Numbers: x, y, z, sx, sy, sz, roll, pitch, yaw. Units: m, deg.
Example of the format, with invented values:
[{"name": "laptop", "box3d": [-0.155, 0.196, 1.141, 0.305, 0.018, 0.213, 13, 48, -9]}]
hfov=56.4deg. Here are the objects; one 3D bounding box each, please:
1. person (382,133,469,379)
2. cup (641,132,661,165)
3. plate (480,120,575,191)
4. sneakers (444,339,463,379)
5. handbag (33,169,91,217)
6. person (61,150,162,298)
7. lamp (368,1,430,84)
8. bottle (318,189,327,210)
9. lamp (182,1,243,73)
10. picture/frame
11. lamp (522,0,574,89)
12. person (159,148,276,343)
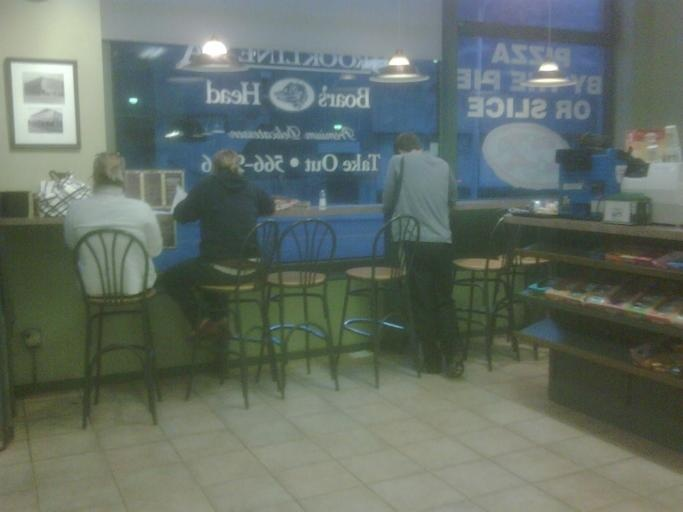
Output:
[{"name": "person", "box3d": [0.709, 0.040, 5.007, 0.445, 1.696, 0.710, -7, 13, -28]}, {"name": "cup", "box3d": [1.956, -0.692, 3.973, 0.127, 0.188, 0.093, 8, 14, 38]}, {"name": "plate", "box3d": [1.926, -1.027, 6.587, 1.061, 0.714, 0.235, -7, 13, -28]}, {"name": "sneakers", "box3d": [0.876, 0.792, 4.920, 0.150, 0.256, 0.181, -7, 13, -26]}, {"name": "handbag", "box3d": [-1.930, -0.454, 4.510, 0.316, 0.146, 0.438, -9, -2, 24]}, {"name": "person", "box3d": [-1.522, -0.240, 4.296, 0.600, 0.978, 0.574, 11, 26, 2]}, {"name": "lamp", "box3d": [0.491, -1.871, 5.426, 0.461, 0.730, 0.737, -1, 11, 2]}, {"name": "bottle", "box3d": [-0.165, -0.523, 5.718, 0.082, 0.138, 0.170, -2, 11, -2]}, {"name": "lamp", "box3d": [-0.970, -1.580, 4.902, 0.444, 0.270, 0.260, -3, 12, -11]}, {"name": "picture/frame", "box3d": [-2.327, -1.196, 4.905, 0.702, 0.939, 0.069, -3, 9, -18]}, {"name": "lamp", "box3d": [2.001, -2.065, 6.039, 0.421, 0.880, 1.063, 2, 12, 17]}, {"name": "person", "box3d": [-0.918, -0.080, 4.639, 0.869, 1.354, 0.494, -2, 11, -6]}]
